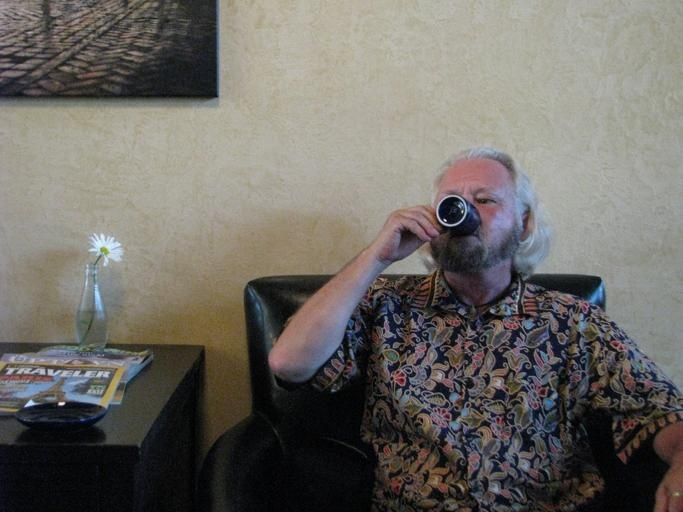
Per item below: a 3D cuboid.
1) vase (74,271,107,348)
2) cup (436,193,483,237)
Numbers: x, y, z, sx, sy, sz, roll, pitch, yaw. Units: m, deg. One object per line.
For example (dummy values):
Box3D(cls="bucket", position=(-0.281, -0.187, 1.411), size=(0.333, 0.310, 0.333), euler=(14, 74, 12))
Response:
Box3D(cls="vase", position=(-0.805, 0.158, 2.207), size=(0.094, 0.252, 0.200), euler=(3, 7, -21))
Box3D(cls="cup", position=(0.319, -0.105, 1.799), size=(0.129, 0.079, 0.094), euler=(27, 11, 39))
